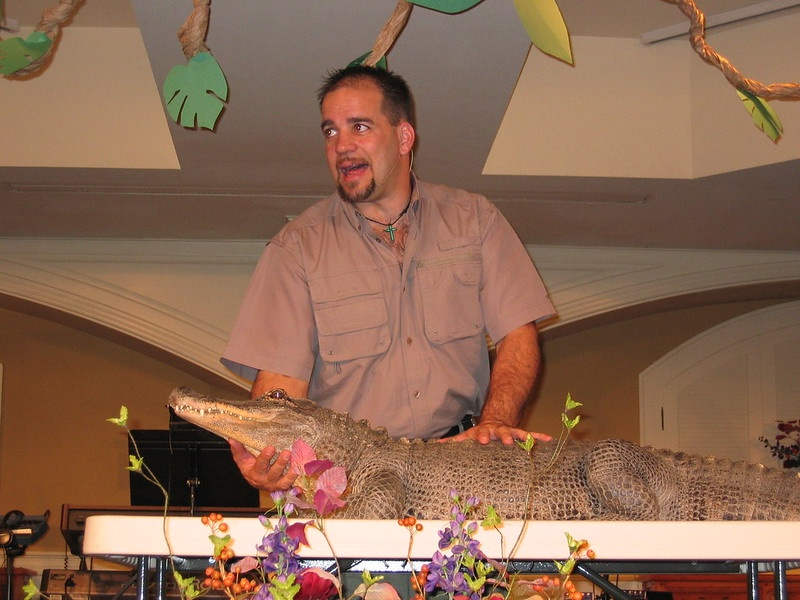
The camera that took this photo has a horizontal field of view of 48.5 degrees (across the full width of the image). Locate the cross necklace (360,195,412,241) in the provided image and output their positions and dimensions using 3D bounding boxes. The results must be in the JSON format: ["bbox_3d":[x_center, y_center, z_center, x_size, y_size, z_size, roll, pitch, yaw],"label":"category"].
[{"bbox_3d":[-0.005,-0.280,3.207,0.192,0.118,0.021,-17,10,-13],"label":"cross necklace"}]

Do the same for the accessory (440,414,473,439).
[{"bbox_3d":[0.204,0.449,3.160,0.096,0.034,0.069,-28,2,37],"label":"accessory"}]

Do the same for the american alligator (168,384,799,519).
[{"bbox_3d":[0.291,0.539,2.764,1.781,0.296,0.686,3,-9,0],"label":"american alligator"}]
